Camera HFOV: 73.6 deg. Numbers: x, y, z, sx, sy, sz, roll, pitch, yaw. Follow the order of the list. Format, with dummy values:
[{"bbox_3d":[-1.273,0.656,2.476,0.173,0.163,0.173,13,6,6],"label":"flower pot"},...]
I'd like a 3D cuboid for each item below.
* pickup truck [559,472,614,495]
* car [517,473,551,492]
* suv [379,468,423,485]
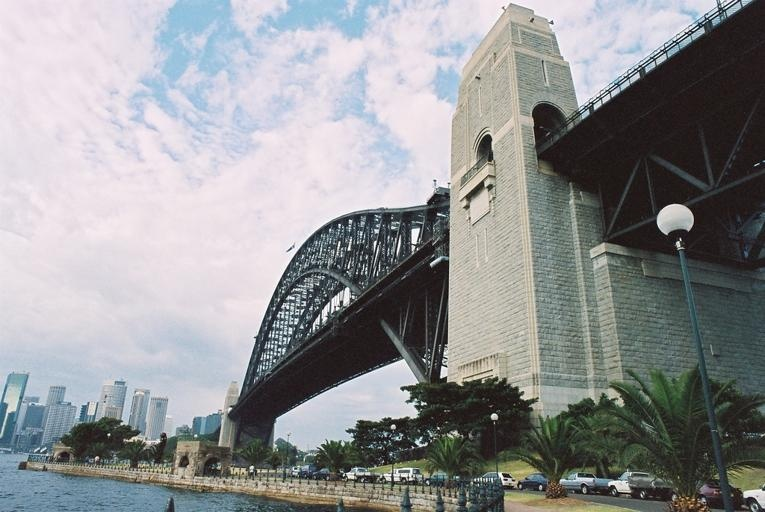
[{"bbox_3d":[13.079,14.671,33.199,2.908,1.307,1.185,-11,-29,27],"label":"pickup truck"},{"bbox_3d":[10.352,15.474,35.089,1.323,0.962,2.761,15,-21,-26],"label":"car"},{"bbox_3d":[1.868,18.901,44.340,2.751,1.457,8.374,0,-25,7],"label":"suv"}]
